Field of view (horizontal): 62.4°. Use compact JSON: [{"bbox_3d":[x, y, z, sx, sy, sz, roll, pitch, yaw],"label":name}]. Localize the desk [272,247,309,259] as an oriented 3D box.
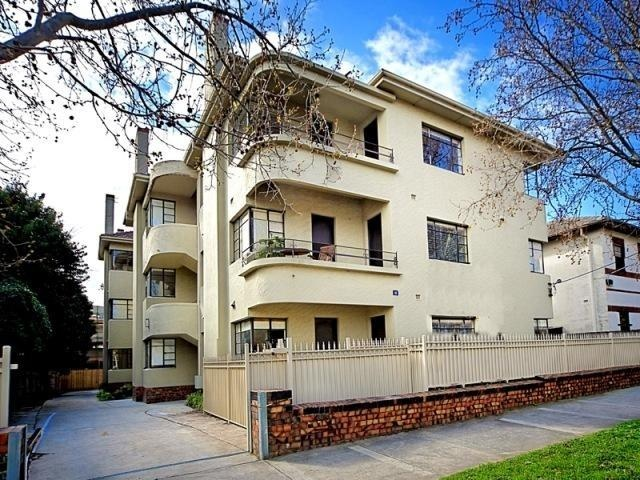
[{"bbox_3d":[-1.142,0.492,20.496,0.935,0.478,1.586,-10,-10,35],"label":"desk"}]
